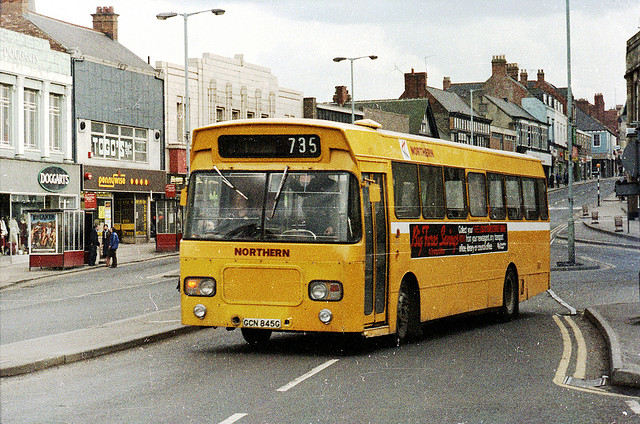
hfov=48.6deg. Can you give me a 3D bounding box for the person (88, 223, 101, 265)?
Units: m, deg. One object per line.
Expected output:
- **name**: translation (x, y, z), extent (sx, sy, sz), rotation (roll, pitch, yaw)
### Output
- **person**: translation (-11.692, 1.708, 36.764), extent (0.555, 2.050, 1.021), rotation (-1, 1, -20)

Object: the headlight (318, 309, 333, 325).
- **headlight**: translation (0.111, 1.962, 13.363), extent (0.238, 0.268, 0.241), rotation (1, 9, 11)

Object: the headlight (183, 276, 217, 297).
- **headlight**: translation (-2.331, 1.472, 13.899), extent (0.425, 0.306, 0.467), rotation (1, 0, 22)

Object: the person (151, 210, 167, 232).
- **person**: translation (-10.343, 0.538, 45.725), extent (0.932, 1.405, 0.347), rotation (5, 8, 14)

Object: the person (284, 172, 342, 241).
- **person**: translation (-0.066, -0.090, 13.623), extent (0.967, 1.276, 0.370), rotation (-1, 1, -3)

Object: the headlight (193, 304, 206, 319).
- **headlight**: translation (-2.346, 1.952, 13.858), extent (0.266, 0.278, 0.059), rotation (0, 1, 22)

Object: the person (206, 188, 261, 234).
- **person**: translation (-1.654, -0.003, 13.805), extent (1.026, 0.854, 0.202), rotation (0, 1, 22)
